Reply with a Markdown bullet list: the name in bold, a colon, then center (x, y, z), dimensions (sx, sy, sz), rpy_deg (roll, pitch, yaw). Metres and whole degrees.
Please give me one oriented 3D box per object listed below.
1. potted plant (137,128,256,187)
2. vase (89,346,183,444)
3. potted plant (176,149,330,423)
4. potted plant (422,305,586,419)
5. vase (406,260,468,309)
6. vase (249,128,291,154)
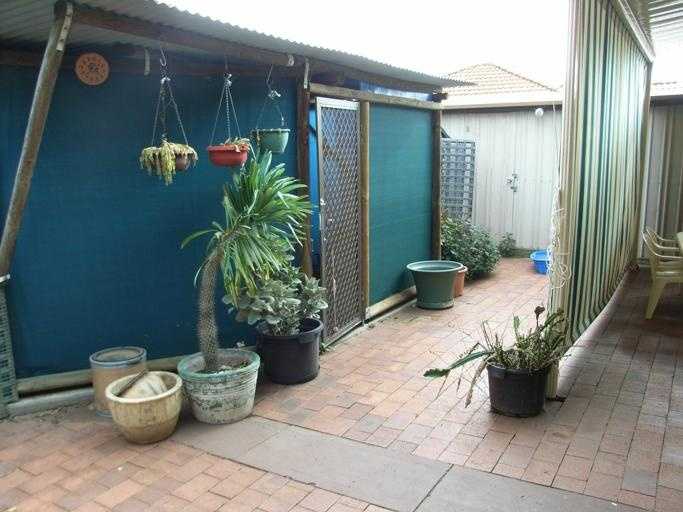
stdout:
- **potted plant**: center (-1.352, -0.900, 4.348), dimensions (0.838, 0.394, 0.645), rpy_deg (-10, 9, -39)
- **vase**: center (-1.743, 1.196, 4.133), dimensions (0.577, 0.585, 0.868), rpy_deg (-6, 9, -43)
- **potted plant**: center (-0.834, 0.178, 4.602), dimensions (1.221, 2.332, 1.530), rpy_deg (0, 13, 7)
- **potted plant**: center (1.412, 0.959, 4.319), dimensions (1.113, 0.868, 1.037), rpy_deg (-3, 1, 19)
- **vase**: center (1.376, 0.396, 7.169), dimensions (0.728, 0.506, 0.764), rpy_deg (1, 8, 25)
- **vase**: center (-0.731, -1.154, 4.839), dimensions (0.324, 0.208, 0.312), rpy_deg (-2, 2, -19)
